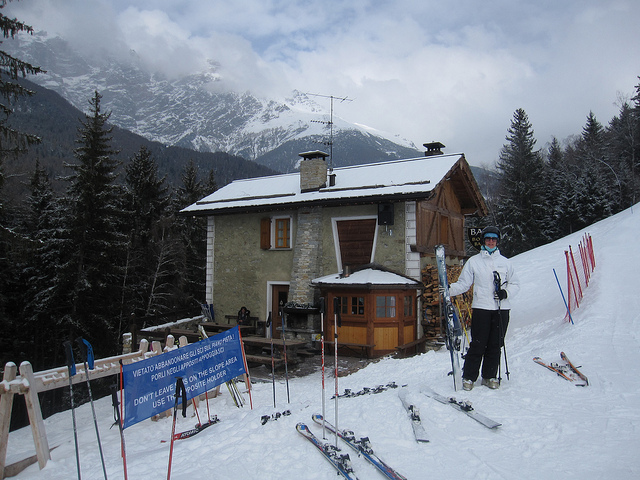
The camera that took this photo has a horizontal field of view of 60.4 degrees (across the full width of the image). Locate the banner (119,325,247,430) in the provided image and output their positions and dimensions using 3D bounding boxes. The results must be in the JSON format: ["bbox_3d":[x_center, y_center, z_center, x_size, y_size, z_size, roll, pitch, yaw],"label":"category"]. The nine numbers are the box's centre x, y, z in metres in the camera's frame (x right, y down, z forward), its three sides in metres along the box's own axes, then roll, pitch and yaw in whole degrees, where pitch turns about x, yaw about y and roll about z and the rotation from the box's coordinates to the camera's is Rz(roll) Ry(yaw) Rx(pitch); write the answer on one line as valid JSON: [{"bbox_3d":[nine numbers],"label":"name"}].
[{"bbox_3d":[-3.439,3.392,14.354,3.582,1.605,0.064,-22,-35,11],"label":"banner"}]

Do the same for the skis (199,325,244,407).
[{"bbox_3d":[-2.749,3.629,15.308,0.235,2.278,0.251,-22,4,13],"label":"skis"}]

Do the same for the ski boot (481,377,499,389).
[{"bbox_3d":[4.044,3.414,13.055,0.155,0.179,0.361,2,-5,-36],"label":"ski boot"}]

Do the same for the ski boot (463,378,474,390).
[{"bbox_3d":[3.487,3.417,12.977,0.202,0.239,0.085,-5,-5,25],"label":"ski boot"}]
